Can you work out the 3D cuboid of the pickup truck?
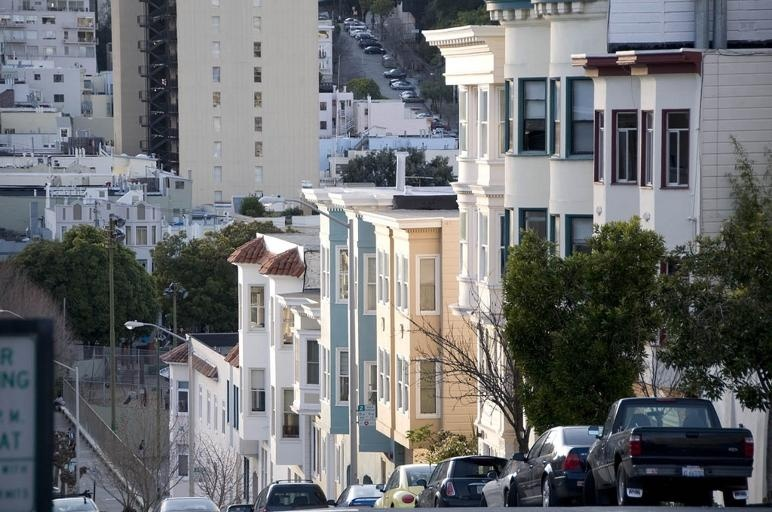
[{"bbox_3d":[14.094,9.462,118.552,7.589,5.208,2.419,-1,-1,2],"label":"pickup truck"}]

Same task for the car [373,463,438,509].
[{"bbox_3d":[1.094,12.166,129.551,3.179,2.146,6.231,0,-11,0],"label":"car"}]
